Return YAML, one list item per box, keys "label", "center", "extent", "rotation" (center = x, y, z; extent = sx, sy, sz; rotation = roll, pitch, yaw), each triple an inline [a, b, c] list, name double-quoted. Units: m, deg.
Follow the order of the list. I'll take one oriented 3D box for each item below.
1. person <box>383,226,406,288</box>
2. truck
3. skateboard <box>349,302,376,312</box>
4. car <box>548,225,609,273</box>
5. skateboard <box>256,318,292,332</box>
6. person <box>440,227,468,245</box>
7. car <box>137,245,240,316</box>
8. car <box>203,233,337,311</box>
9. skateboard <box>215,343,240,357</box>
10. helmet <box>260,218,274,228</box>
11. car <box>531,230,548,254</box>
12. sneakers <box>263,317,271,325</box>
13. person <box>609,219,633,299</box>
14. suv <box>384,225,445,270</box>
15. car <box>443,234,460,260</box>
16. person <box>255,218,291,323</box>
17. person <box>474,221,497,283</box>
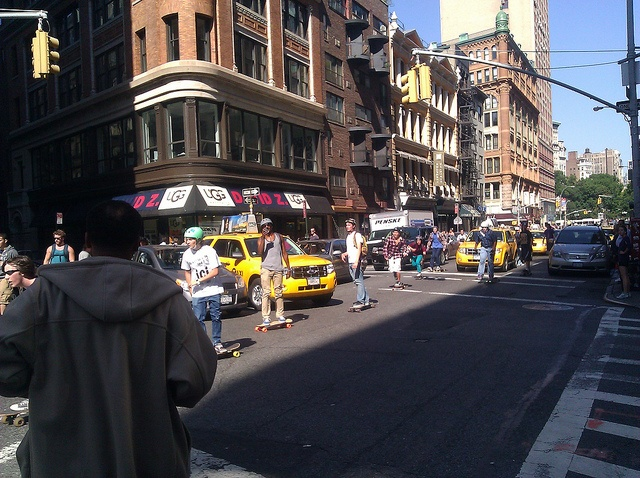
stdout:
- label: "person"
  center: [2.009, 0.552, 17.350]
  extent: [0.590, 1.699, 1.294]
  rotation: [4, 4, 7]
- label: "truck"
  center: [2.920, -0.175, 28.951]
  extent: [2.039, 2.283, 3.741]
  rotation: [0, 1, 33]
- label: "skateboard"
  center: [0.906, 1.505, 14.047]
  extent: [0.636, 0.314, 0.212]
  rotation: [7, -13, -44]
- label: "car"
  center: [8.475, 0.317, 20.998]
  extent: [1.123, 1.068, 2.321]
  rotation: [-3, -5, 28]
- label: "skateboard"
  center: [-0.841, 1.601, 12.030]
  extent: [0.625, 0.114, 0.248]
  rotation: [0, 3, -40]
- label: "person"
  center: [7.636, -0.225, 37.152]
  extent: [0.802, 0.735, 1.368]
  rotation: [-5, -8, 36]
- label: "car"
  center: [-2.962, 0.806, 13.675]
  extent: [2.969, 1.380, 1.409]
  rotation: [-2, 0, 42]
- label: "car"
  center: [-1.377, 0.684, 15.123]
  extent: [1.458, 1.384, 2.968]
  rotation: [-2, -2, -43]
- label: "skateboard"
  center: [-1.423, 1.762, 10.077]
  extent: [0.231, 0.166, 0.935]
  rotation: [-1, -2, 11]
- label: "helmet"
  center: [-1.030, -0.315, 11.875]
  extent: [0.141, 0.113, 0.203]
  rotation: [-1, -10, -32]
- label: "car"
  center: [11.738, 0.190, 34.329]
  extent: [1.045, 0.859, 2.426]
  rotation: [-2, -3, 16]
- label: "sneakers"
  center: [-0.991, 1.511, 11.891]
  extent: [0.138, 0.154, 0.208]
  rotation: [4, 4, -5]
- label: "person"
  center: [7.293, 0.468, 15.398]
  extent: [0.384, 1.214, 2.652]
  rotation: [5, 4, 25]
- label: "suv"
  center: [4.029, 0.321, 25.934]
  extent: [1.502, 1.654, 3.222]
  rotation: [-2, -2, 33]
- label: "car"
  center: [6.040, 0.348, 29.766]
  extent: [0.815, 0.802, 1.705]
  rotation: [2, 10, 23]
- label: "person"
  center: [-0.883, 0.626, 12.104]
  extent: [0.533, 2.023, 0.724]
  rotation: [6, 4, 28]
- label: "person"
  center: [4.897, 0.367, 18.881]
  extent: [0.547, 1.796, 0.933]
  rotation: [5, 4, 14]
